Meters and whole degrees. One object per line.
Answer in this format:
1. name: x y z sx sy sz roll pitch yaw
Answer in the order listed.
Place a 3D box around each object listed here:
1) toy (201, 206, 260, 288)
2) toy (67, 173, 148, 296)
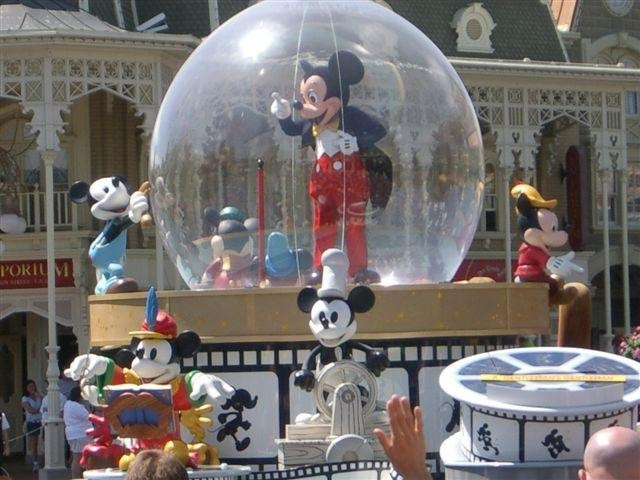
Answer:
1. toy: -1.214 0.250 29.471 0.887 1.535 0.535 -11 37 -7
2. toy: -3.063 -0.063 30.842 1.080 1.750 1.095 -1 -2 -30
